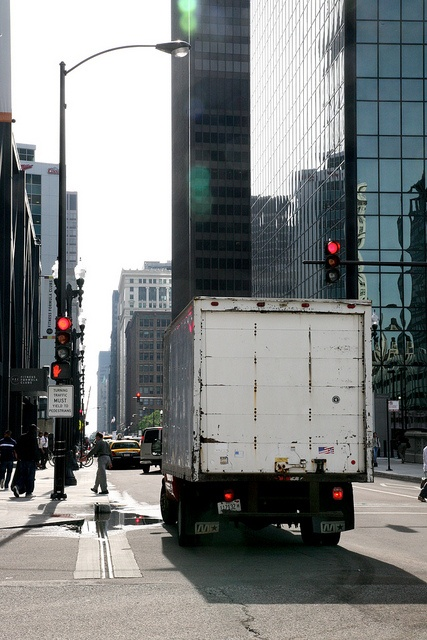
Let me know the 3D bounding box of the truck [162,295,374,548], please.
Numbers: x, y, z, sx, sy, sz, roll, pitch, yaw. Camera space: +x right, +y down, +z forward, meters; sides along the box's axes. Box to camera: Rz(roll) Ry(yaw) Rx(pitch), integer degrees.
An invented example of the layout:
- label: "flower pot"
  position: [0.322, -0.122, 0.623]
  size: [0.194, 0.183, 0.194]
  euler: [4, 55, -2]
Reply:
- label: "truck"
  position: [0.663, 1.376, 11.524]
  size: [2.336, 3.154, 2.600]
  euler: [2, -7, -15]

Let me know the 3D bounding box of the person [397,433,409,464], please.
- label: "person"
  position: [9.853, 6.633, 44.871]
  size: [0.574, 1.425, 2.560]
  euler: [-2, -8, 12]

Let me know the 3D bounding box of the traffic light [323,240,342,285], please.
- label: "traffic light"
  position: [2.649, -1.339, 19.370]
  size: [0.339, 0.972, 0.937]
  euler: [-1, -7, 8]

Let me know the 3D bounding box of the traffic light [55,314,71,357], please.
- label: "traffic light"
  position: [-3.215, 0.391, 18.538]
  size: [0.301, 0.946, 0.614]
  euler: [1, -7, -14]

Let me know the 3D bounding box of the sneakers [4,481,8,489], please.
- label: "sneakers"
  position: [-5.827, 4.659, 24.369]
  size: [0.099, 0.274, 0.122]
  euler: [1, -10, -7]

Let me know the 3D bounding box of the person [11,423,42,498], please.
- label: "person"
  position: [-4.599, 3.418, 21.162]
  size: [0.631, 1.738, 1.152]
  euler: [2, -7, -15]

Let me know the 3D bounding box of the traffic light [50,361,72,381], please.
- label: "traffic light"
  position: [-3.283, 1.097, 18.673]
  size: [0.371, 0.665, 0.374]
  euler: [0, 3, -6]
